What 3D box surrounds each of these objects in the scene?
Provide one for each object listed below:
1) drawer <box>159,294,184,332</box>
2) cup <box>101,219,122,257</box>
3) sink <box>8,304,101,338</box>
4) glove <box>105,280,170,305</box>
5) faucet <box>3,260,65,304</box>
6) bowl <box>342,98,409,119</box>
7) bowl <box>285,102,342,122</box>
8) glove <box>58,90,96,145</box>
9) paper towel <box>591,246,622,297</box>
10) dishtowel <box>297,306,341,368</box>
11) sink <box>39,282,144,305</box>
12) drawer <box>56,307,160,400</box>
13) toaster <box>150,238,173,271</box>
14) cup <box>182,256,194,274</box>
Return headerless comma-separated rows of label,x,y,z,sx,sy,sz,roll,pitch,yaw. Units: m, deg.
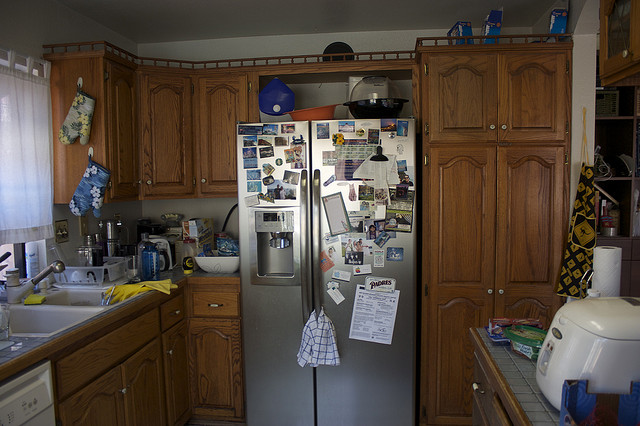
drawer,-1.097,0.727,3.380,0.165,0.125,0.257,0,2,4
cup,-1.610,0.204,3.523,0.149,0.297,0.182,-9,-6,41
sink,-1.737,0.653,2.875,0.347,0.142,0.219,0,-2,13
glove,-1.276,0.508,3.193,0.417,0.112,0.407,3,5,1
faucet,-1.814,0.434,2.920,0.393,0.266,0.138,1,2,22
bowl,0.404,-0.771,3.394,0.312,0.081,0.293,-2,0,0
bowl,-0.070,-0.738,3.437,0.361,0.147,0.218,-1,3,-4
glove,-1.765,-0.674,3.346,0.228,0.407,0.106,11,4,-12
paper towel,1.467,0.300,2.355,0.121,0.251,0.181,1,3,30
dishtowel,-0.015,0.879,3.298,0.272,0.398,0.065,-1,2,-6
sink,-1.565,0.556,3.144,0.606,0.149,0.253,0,3,-1
drawer,-1.324,0.852,2.808,0.582,0.149,0.633,-4,8,17
toaster,-1.263,0.340,3.795,0.183,0.239,0.238,2,-18,3
cup,-1.054,0.410,3.670,0.086,0.128,0.098,-2,3,-38
